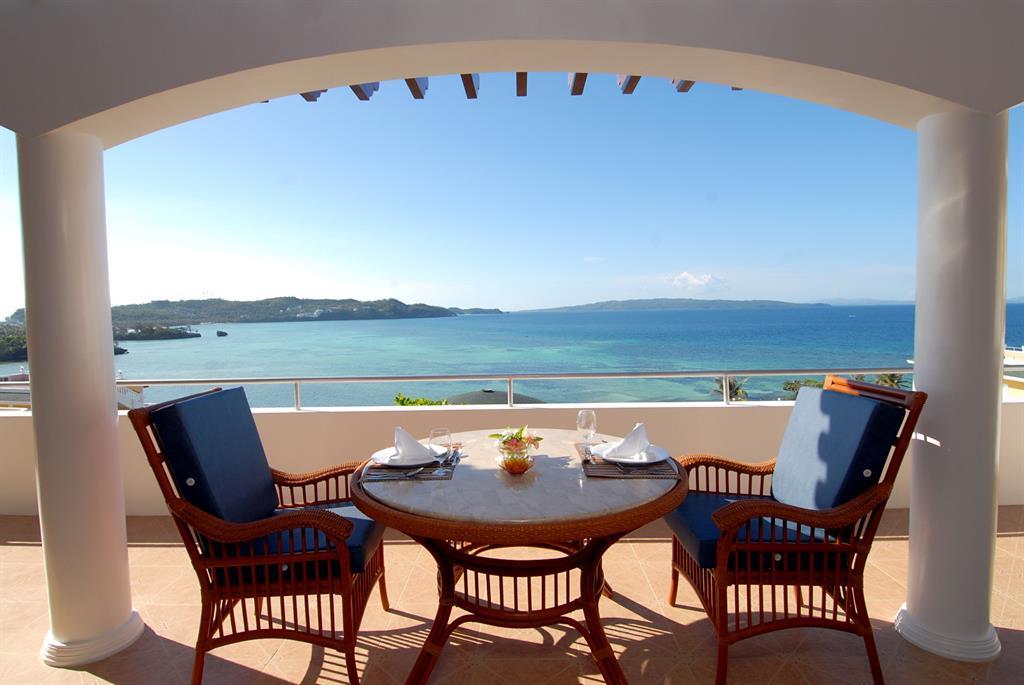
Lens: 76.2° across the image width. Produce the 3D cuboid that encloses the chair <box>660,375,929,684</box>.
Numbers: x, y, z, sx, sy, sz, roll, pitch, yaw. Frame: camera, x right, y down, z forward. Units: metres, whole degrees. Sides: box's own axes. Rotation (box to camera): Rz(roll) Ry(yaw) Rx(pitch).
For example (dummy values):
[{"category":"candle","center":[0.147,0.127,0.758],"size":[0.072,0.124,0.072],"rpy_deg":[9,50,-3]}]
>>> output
[{"category":"chair","center":[1.428,0.774,3.735],"size":[1.365,1.810,1.353],"rpy_deg":[2,1,1]}]

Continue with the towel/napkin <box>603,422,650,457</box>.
[{"category":"towel/napkin","center":[0.541,0.455,3.099],"size":[0.193,0.074,0.143],"rpy_deg":[-12,-8,27]}]

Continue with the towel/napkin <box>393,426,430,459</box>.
[{"category":"towel/napkin","center":[-0.481,0.473,3.119],"size":[0.159,0.153,0.140],"rpy_deg":[-3,-9,-22]}]

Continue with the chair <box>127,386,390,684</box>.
[{"category":"chair","center":[-1.024,0.822,3.752],"size":[1.385,1.848,1.260],"rpy_deg":[-2,4,-2]}]

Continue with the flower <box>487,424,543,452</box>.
[{"category":"flower","center":[0.004,0.448,3.027],"size":[0.183,0.075,0.156],"rpy_deg":[1,-3,-19]}]

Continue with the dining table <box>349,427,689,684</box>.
[{"category":"dining table","center":[0.064,0.997,3.097],"size":[1.413,1.102,0.979],"rpy_deg":[-3,9,10]}]
